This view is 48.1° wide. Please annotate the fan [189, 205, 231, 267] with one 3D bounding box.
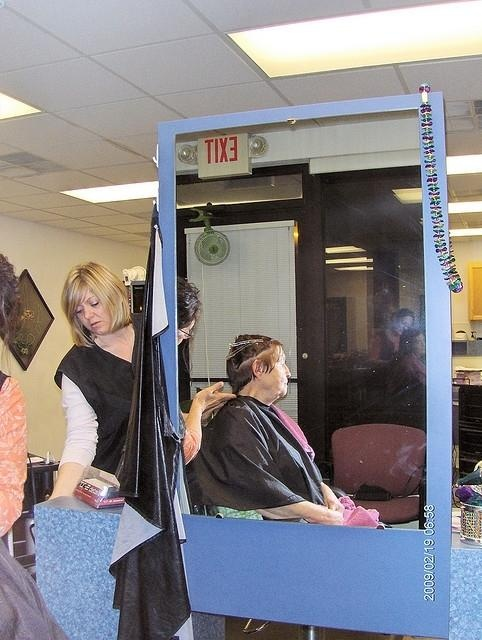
[{"bbox_3d":[-0.066,-0.194,1.234,0.100,0.166,0.084,5,-24,-11],"label":"fan"}]
